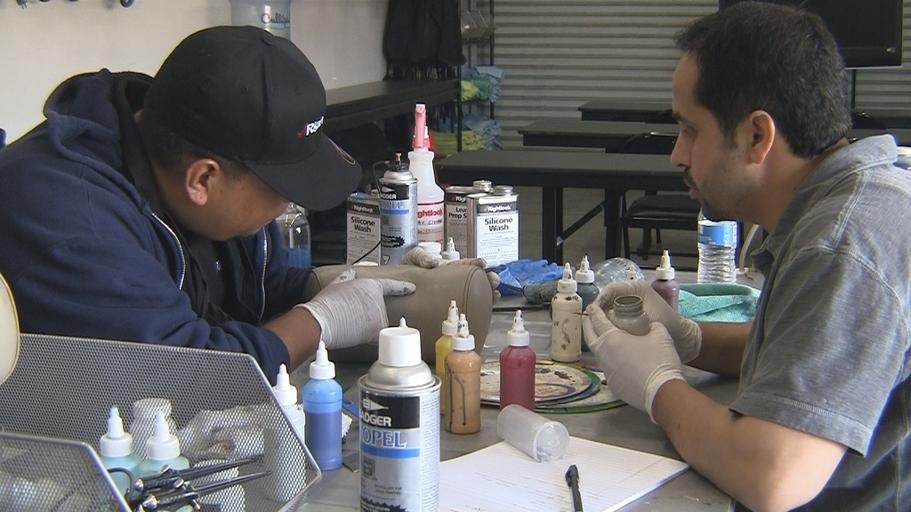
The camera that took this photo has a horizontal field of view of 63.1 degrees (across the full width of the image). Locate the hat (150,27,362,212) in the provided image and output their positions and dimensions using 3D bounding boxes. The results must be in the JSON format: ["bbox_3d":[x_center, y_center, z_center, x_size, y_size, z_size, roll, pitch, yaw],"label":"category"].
[{"bbox_3d":[-0.513,-0.344,1.888,0.512,0.444,0.186,-4,11,-21],"label":"hat"}]
